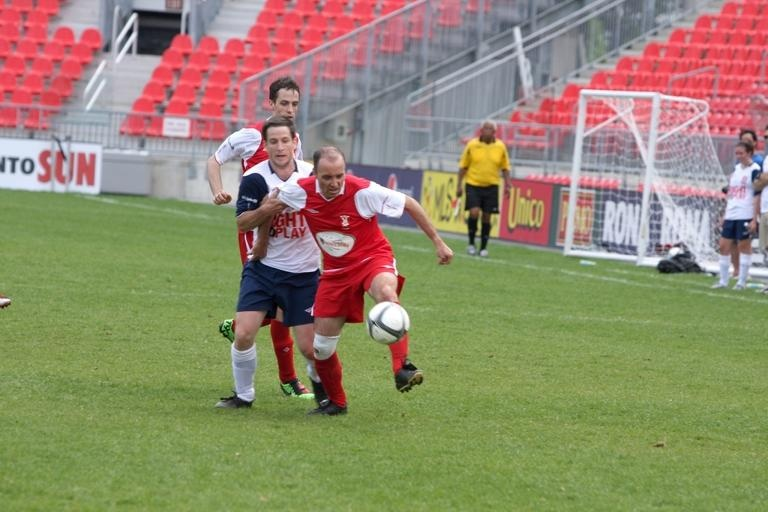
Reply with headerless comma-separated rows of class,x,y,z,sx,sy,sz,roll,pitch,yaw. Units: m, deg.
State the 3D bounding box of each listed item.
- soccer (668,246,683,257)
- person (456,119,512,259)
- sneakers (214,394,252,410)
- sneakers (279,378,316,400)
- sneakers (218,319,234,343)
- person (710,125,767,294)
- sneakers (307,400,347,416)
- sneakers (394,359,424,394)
soccer,4.984,-0.073,21.410,0.234,0.123,0.200,2,0,9
person,1.728,-1.191,21.905,0.890,1.987,0.762,2,-1,3
sneakers,-1.706,1.665,14.272,0.444,0.182,0.156,5,-5,-3
sneakers,-1.039,1.574,14.644,0.462,0.190,0.169,3,5,22
sneakers,-1.899,0.888,15.046,0.180,0.145,0.407,9,-8,-4
person,5.709,-0.711,20.029,0.759,1.847,1.177,2,0,14
sneakers,-0.647,1.740,14.260,0.416,0.172,0.163,3,-2,1
sneakers,0.266,1.336,13.803,0.292,0.301,0.199,2,0,2
